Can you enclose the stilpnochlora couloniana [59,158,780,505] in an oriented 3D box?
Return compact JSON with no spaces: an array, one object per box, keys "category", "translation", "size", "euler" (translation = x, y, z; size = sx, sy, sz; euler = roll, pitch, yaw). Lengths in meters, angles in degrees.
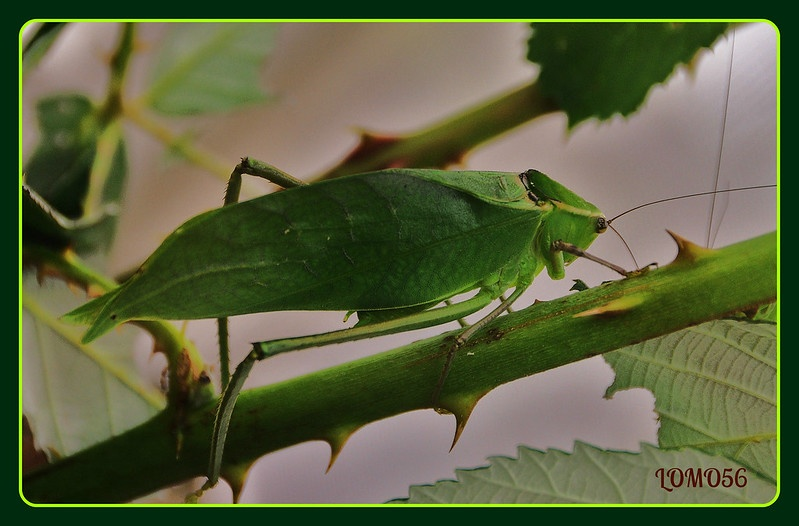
[{"category":"stilpnochlora couloniana","translation":[-0.008,0.180,2.919],"size":[2.338,0.781,0.727],"euler":[-14,-38,-4]}]
